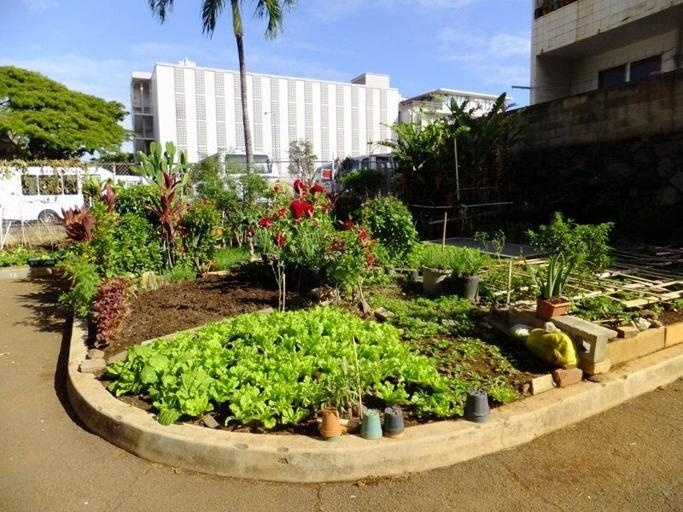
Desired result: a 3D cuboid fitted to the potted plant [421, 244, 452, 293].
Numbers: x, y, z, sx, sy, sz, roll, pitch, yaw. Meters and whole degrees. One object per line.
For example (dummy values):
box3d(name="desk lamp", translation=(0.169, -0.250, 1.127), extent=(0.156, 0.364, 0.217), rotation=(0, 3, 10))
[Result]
box3d(name="potted plant", translation=(1.470, 0.237, 7.361), extent=(0.438, 0.620, 0.666), rotation=(1, 10, 9))

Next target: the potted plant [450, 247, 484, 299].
box3d(name="potted plant", translation=(1.883, 0.283, 7.124), extent=(0.428, 0.622, 0.570), rotation=(2, 10, 13))

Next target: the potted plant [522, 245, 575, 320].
box3d(name="potted plant", translation=(2.695, 0.366, 6.112), extent=(0.602, 0.906, 0.677), rotation=(-4, 14, -14))
